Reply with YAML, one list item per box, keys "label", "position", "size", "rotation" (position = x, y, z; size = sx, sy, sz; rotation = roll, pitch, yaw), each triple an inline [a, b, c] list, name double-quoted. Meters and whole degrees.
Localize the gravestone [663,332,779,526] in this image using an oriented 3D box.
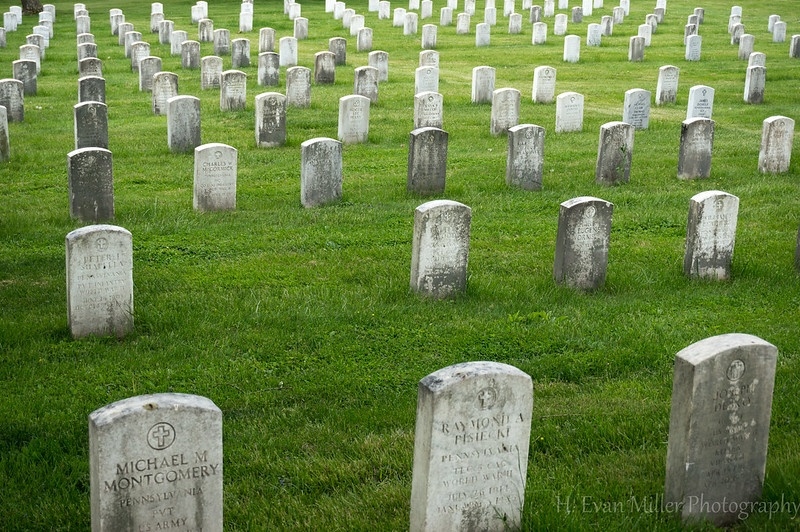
- label: "gravestone"
  position: [6.673, 3.435, 32.579]
  size: [2.196, 3.877, 0.610]
  rotation: [-2, 9, -7]
